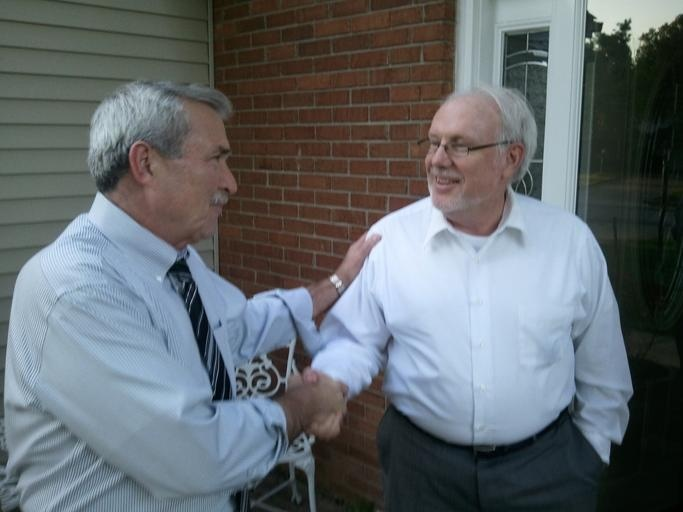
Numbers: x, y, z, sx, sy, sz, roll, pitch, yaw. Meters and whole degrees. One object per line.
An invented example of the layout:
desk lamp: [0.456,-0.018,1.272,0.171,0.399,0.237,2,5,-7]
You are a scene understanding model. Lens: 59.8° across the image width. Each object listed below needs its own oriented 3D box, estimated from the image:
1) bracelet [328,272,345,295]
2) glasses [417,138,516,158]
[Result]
bracelet: [-0.018,0.136,2.977,0.060,0.095,0.094,-33,-23,-18]
glasses: [0.529,-0.467,2.535,0.378,0.079,0.156,2,11,20]
